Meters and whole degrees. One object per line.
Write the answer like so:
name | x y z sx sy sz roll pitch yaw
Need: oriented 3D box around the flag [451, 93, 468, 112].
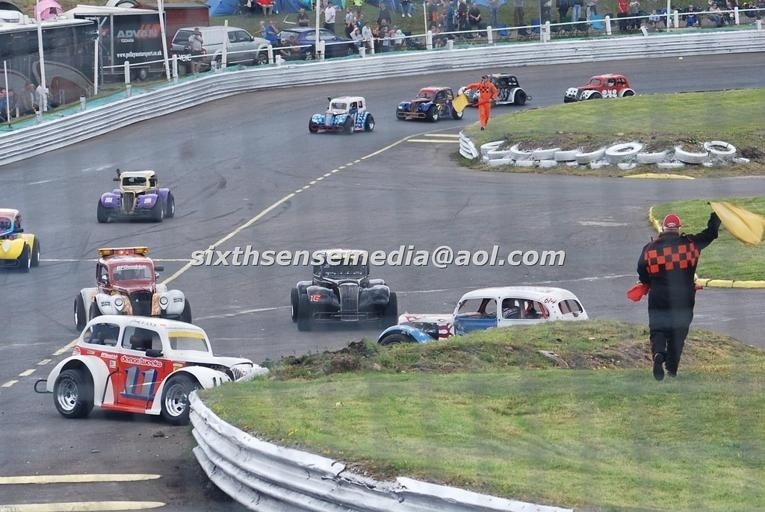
flag | 3.307 -6.717 76.765 0.903 0.699 0.213 -5 22 -29

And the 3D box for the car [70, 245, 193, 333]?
car | -8.097 0.984 55.232 3.316 2.232 4.574 -6 13 -20
